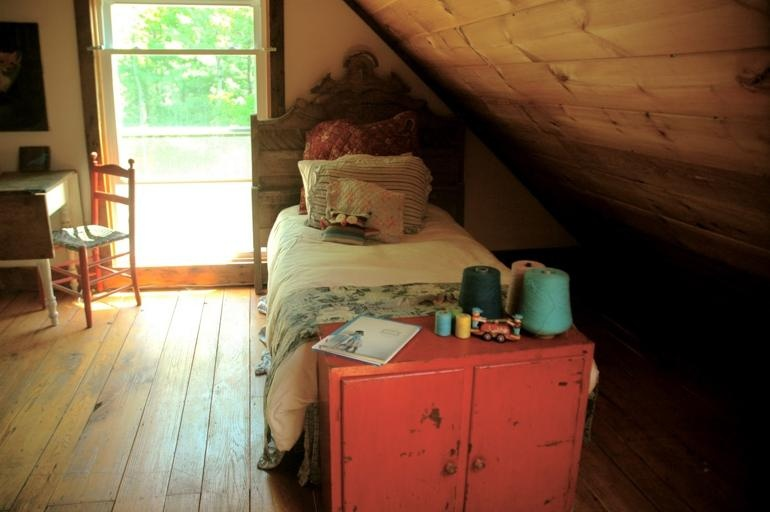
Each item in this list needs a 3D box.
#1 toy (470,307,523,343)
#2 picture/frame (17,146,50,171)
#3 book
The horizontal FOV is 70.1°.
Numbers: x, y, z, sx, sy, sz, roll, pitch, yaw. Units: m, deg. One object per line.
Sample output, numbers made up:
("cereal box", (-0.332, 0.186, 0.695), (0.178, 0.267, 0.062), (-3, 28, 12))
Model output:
("toy", (0.436, 0.279, 2.240), (0.237, 0.140, 0.098), (3, 14, 5))
("picture/frame", (-2.588, -0.711, 4.019), (0.214, 0.173, 0.029), (0, 7, -8))
("book", (-0.062, 0.330, 2.168), (0.298, 0.088, 0.334), (8, 15, 28))
